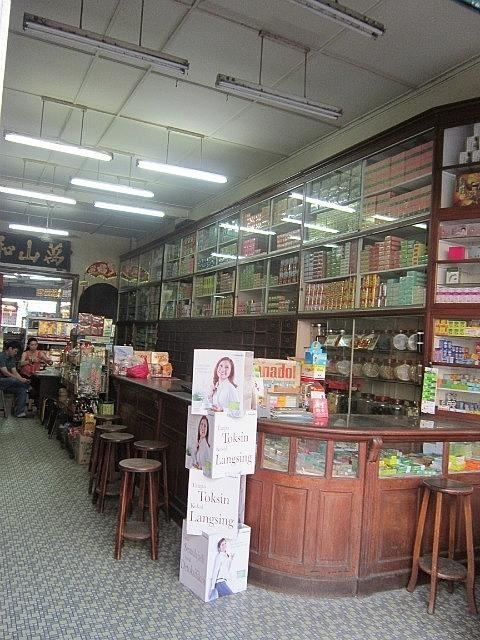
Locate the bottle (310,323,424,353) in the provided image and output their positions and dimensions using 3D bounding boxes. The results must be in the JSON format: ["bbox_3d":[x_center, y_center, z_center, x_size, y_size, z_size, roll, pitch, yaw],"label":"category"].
[{"bbox_3d":[1.374,0.204,5.214,0.142,0.243,1.499,7,-5,-29],"label":"bottle"}]

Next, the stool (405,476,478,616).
[{"bbox_3d":[1.275,1.348,3.058,0.409,0.700,0.733,3,-5,19],"label":"stool"}]

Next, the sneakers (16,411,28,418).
[{"bbox_3d":[-3.725,1.631,8.420,0.207,0.085,0.075,0,-2,27],"label":"sneakers"}]
